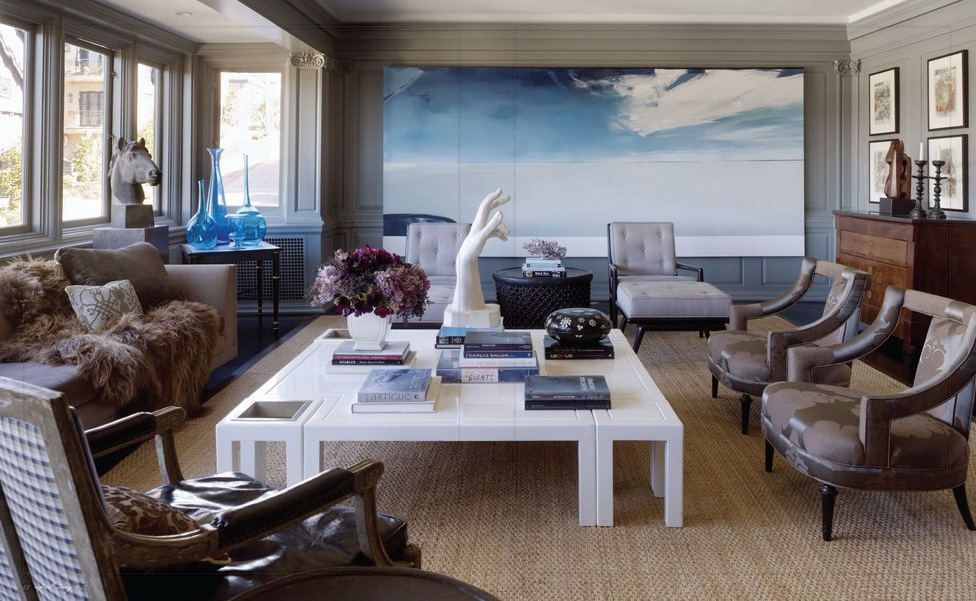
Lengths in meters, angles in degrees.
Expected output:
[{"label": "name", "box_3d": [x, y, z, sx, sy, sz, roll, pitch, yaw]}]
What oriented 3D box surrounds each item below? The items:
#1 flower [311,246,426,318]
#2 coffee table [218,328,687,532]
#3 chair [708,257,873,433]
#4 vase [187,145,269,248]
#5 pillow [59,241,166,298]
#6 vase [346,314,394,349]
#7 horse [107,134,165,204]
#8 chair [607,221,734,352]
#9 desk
[{"label": "flower", "box_3d": [-0.668, -0.102, 3.759, 0.519, 0.382, 0.433, 3, 11, -6]}, {"label": "coffee table", "box_3d": [-0.201, 0.544, 3.153, 1.272, 0.277, 1.233, 0, 13, 3]}, {"label": "chair", "box_3d": [1.794, 0.220, 4.210, 1.122, 1.145, 0.901, -1, 5, -3]}, {"label": "vase", "box_3d": [-2.308, -0.868, 5.782, 0.629, 0.766, 0.297, -6, 14, -23]}, {"label": "pillow", "box_3d": [-2.428, -0.188, 4.271, 0.134, 0.242, 0.390, -26, -7, 22]}, {"label": "vase", "box_3d": [-0.674, 0.162, 3.738, 0.238, 0.221, 0.195, 1, -3, -4]}, {"label": "horse", "box_3d": [-2.741, -1.012, 5.133, 0.327, 0.511, 0.424, -8, 14, -28]}, {"label": "chair", "box_3d": [1.469, -0.236, 5.643, 0.770, 0.947, 1.458, -1, 7, 3]}, {"label": "desk", "box_3d": [-2.321, -0.213, 6.021, 0.909, 0.633, 0.909, 12, 14, 32]}]
